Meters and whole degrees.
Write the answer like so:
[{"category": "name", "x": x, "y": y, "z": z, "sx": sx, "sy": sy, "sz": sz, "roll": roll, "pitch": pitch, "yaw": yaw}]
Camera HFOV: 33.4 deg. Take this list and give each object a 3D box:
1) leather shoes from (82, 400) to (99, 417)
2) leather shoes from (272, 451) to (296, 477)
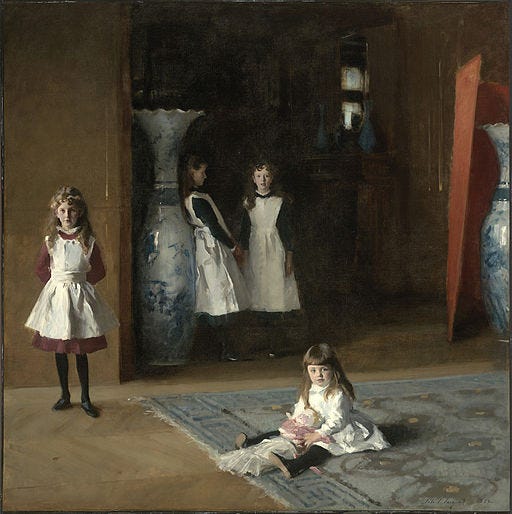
[{"category": "leather shoes", "x": -0.938, "y": 0.846, "z": 4.883, "sx": 0.132, "sy": 0.052, "sz": 0.051, "roll": 29, "pitch": 39, "yaw": 36}, {"category": "leather shoes", "x": 0.147, "y": 1.135, "z": 4.687, "sx": 0.068, "sy": 0.173, "sz": 0.061, "roll": -43, "pitch": -15, "yaw": 14}]
